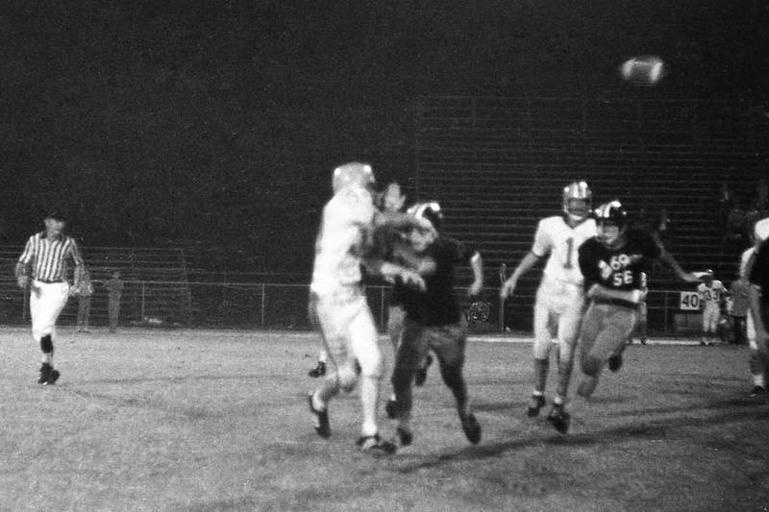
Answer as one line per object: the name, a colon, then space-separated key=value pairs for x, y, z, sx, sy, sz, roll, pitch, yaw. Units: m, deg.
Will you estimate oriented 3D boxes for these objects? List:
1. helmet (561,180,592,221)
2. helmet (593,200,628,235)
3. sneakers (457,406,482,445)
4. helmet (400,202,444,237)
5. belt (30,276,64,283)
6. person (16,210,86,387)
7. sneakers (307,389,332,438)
helmet: x=2.609 y=-0.778 z=12.950 sx=0.450 sy=0.485 sz=0.534 roll=0 pitch=14 yaw=-2
helmet: x=3.018 y=-0.529 z=12.468 sx=0.366 sy=0.423 sz=0.431 roll=9 pitch=6 yaw=1
sneakers: x=1.059 y=2.143 z=11.872 sx=0.307 sy=0.475 sz=0.122 roll=-19 pitch=17 yaw=-6
helmet: x=0.488 y=-0.503 z=11.802 sx=0.459 sy=0.370 sz=0.466 roll=2 pitch=9 yaw=1
belt: x=-5.412 y=0.374 z=14.915 sx=0.508 sy=0.095 sz=0.115 roll=1 pitch=9 yaw=-3
person: x=-5.415 y=0.655 z=14.937 sx=1.312 sy=2.661 sz=1.152 roll=0 pitch=-1 yaw=23
sneakers: x=-0.876 y=2.002 z=11.880 sx=0.240 sy=0.631 sz=0.282 roll=-7 pitch=21 yaw=39
